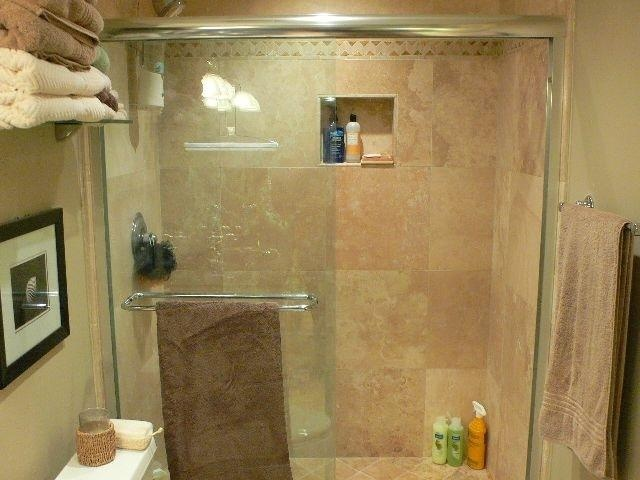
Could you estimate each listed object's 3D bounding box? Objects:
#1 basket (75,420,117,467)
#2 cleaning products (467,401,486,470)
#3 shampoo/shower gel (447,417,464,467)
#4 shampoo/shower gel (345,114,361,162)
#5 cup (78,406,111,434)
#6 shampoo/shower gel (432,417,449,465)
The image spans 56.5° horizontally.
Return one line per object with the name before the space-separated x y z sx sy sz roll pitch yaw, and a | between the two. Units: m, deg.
basket | -0.714 0.653 1.919 0.114 0.118 0.121 0 2 -3
cleaning products | 0.820 1.009 3.072 0.103 0.330 0.083 3 1 18
shampoo/shower gel | 0.716 1.045 3.103 0.091 0.237 0.094 3 1 16
shampoo/shower gel | 0.177 -0.508 2.980 0.103 0.204 0.075 3 1 -9
cup | -0.738 0.587 1.942 0.073 0.056 0.078 1 -3 0
shampoo/shower gel | 0.633 1.041 3.109 0.082 0.224 0.076 3 1 13
